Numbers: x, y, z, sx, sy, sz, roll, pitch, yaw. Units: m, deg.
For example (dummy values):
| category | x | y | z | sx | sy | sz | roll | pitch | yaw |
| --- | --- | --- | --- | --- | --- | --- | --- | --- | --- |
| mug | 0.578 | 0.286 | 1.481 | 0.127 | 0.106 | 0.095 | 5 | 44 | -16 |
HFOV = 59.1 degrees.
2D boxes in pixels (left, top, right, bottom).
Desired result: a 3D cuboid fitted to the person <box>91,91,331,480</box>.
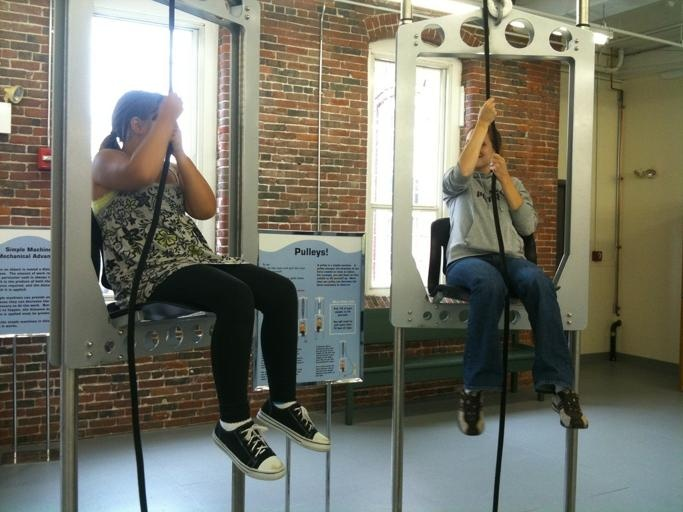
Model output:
| category | x | y | z | sx | sy | sz | roll | pitch | yaw |
| --- | --- | --- | --- | --- | --- | --- | --- | --- | --- |
| person | -0.604 | 0.071 | 2.725 | 0.970 | 1.666 | 0.459 | 0 | 6 | 19 |

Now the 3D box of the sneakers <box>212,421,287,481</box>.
| category | x | y | z | sx | sy | sz | roll | pitch | yaw |
| --- | --- | --- | --- | --- | --- | --- | --- | --- | --- |
| sneakers | -0.382 | 0.809 | 2.580 | 0.350 | 0.226 | 0.174 | 4 | 8 | 44 |

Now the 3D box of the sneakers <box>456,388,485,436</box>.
| category | x | y | z | sx | sy | sz | roll | pitch | yaw |
| --- | --- | --- | --- | --- | --- | --- | --- | --- | --- |
| sneakers | 0.686 | 0.848 | 3.238 | 0.096 | 0.132 | 0.296 | 0 | 1 | 3 |

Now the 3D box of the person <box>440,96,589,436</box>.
| category | x | y | z | sx | sy | sz | roll | pitch | yaw |
| --- | --- | --- | --- | --- | --- | --- | --- | --- | --- |
| person | 0.929 | 0.067 | 3.295 | 0.680 | 1.814 | 0.881 | -3 | 6 | -5 |
